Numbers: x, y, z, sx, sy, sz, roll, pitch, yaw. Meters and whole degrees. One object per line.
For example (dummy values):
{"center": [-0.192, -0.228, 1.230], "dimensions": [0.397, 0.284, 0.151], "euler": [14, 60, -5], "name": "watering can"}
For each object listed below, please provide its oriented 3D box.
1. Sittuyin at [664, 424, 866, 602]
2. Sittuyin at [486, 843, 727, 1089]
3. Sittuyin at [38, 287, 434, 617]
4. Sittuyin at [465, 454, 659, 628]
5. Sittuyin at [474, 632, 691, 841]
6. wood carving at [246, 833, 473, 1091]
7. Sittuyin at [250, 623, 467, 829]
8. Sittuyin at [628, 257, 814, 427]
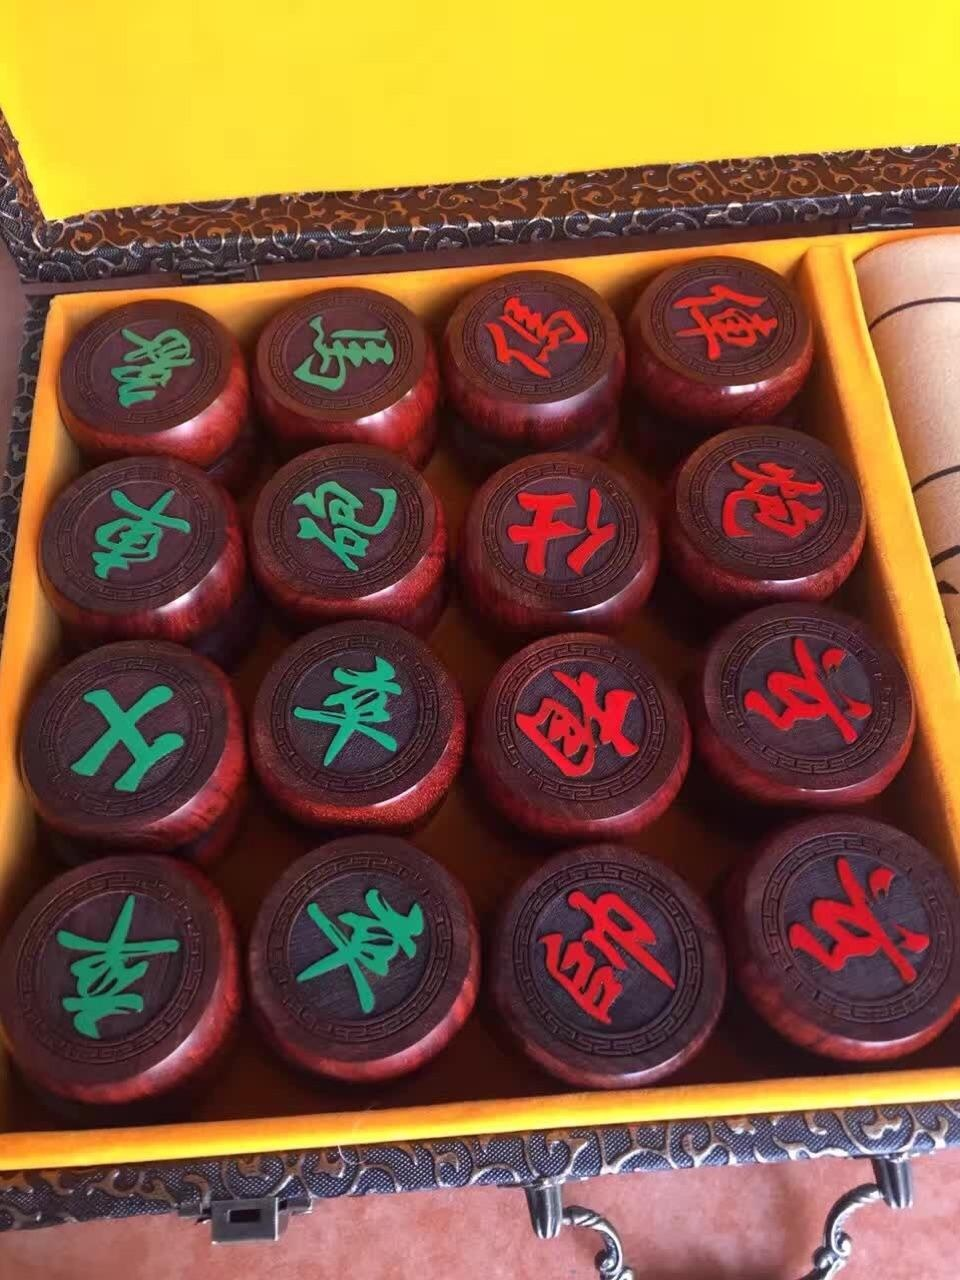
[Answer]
{"center": [0.304, -0.127, 1.234], "dimensions": [0.202, 0.177, 0.061], "euler": [26, -17, 11], "name": "Sittuyin"}
{"center": [0.113, 0.285, 1.039], "dimensions": [0.206, 0.183, 0.110], "euler": [-8, 6, -1], "name": "Sittuyin"}
{"center": [-0.262, -0.224, 1.418], "dimensions": [0.663, 0.275, 0.205], "euler": [-6, -16, -2], "name": "Sittuyin"}
{"center": [0.086, -0.100, 1.228], "dimensions": [0.203, 0.189, 0.109], "euler": [-9, 6, -8], "name": "Sittuyin"}
{"center": [0.098, 0.089, 1.123], "dimensions": [0.188, 0.179, 0.116], "euler": [-7, 6, 7], "name": "Sittuyin"}
{"center": [-0.103, 0.280, 1.035], "dimensions": [0.197, 0.126, 0.111], "euler": [-8, 6, -9], "name": "wood carving"}
{"center": [-0.119, 0.084, 1.125], "dimensions": [0.196, 0.194, 0.110], "euler": [-9, 6, -7], "name": "Sittuyin"}
{"center": [0.284, -0.345, 1.356], "dimensions": [0.196, 0.207, 0.128], "euler": [-11, 6, -23], "name": "Sittuyin"}
